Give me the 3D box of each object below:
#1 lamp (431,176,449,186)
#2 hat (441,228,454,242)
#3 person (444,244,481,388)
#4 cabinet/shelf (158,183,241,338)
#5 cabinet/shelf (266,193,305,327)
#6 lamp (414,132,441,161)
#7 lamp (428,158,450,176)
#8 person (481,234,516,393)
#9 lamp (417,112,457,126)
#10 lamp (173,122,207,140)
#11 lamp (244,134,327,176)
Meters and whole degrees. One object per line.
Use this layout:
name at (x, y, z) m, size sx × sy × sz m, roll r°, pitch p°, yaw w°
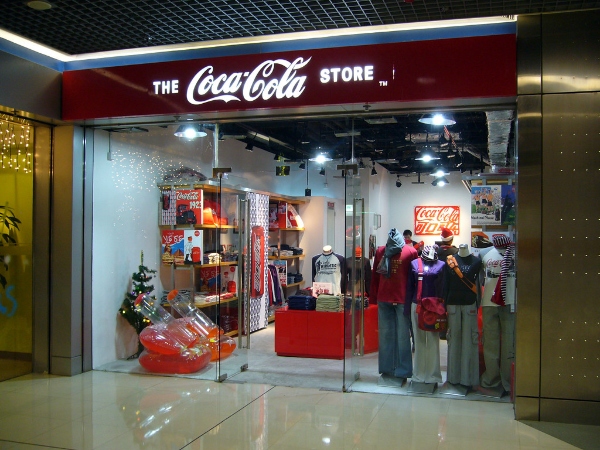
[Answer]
lamp at (1.601, -0.499, 5.630) m, size 0.177 × 0.126 × 0.248 m, roll 0°, pitch -1°, yaw 15°
hat at (1.620, 0.108, 5.416) m, size 0.114 × 0.143 × 0.108 m, roll 4°, pitch 2°, yaw -32°
person at (1.787, 1.014, 5.371) m, size 0.348 × 1.582 × 0.116 m, roll -1°, pitch -2°, yaw 17°
cabinet/shelf at (-1.143, 0.435, 5.757) m, size 0.553 × 1.709 × 0.833 m, roll 1°, pitch 0°, yaw 29°
cabinet/shelf at (-0.203, 0.267, 7.694) m, size 0.594 × 1.530 × 1.395 m, roll 0°, pitch -1°, yaw -3°
lamp at (1.741, -1.027, 6.759) m, size 0.317 × 0.407 × 1.517 m, roll 0°, pitch -1°, yaw 13°
lamp at (1.740, -0.723, 6.173) m, size 0.272 × 0.284 × 0.295 m, roll 9°, pitch 14°, yaw 44°
person at (2.107, 0.953, 5.261) m, size 0.323 × 1.695 × 0.139 m, roll -1°, pitch -2°, yaw 20°
lamp at (1.571, -1.202, 5.633) m, size 0.380 × 0.115 × 0.263 m, roll 0°, pitch -1°, yaw -20°
lamp at (-1.360, -1.154, 6.060) m, size 0.422 × 0.190 × 0.116 m, roll 0°, pitch -2°, yaw 12°
lamp at (-0.270, -1.128, 7.810) m, size 0.420 × 0.394 × 1.568 m, roll 6°, pitch 4°, yaw 25°
